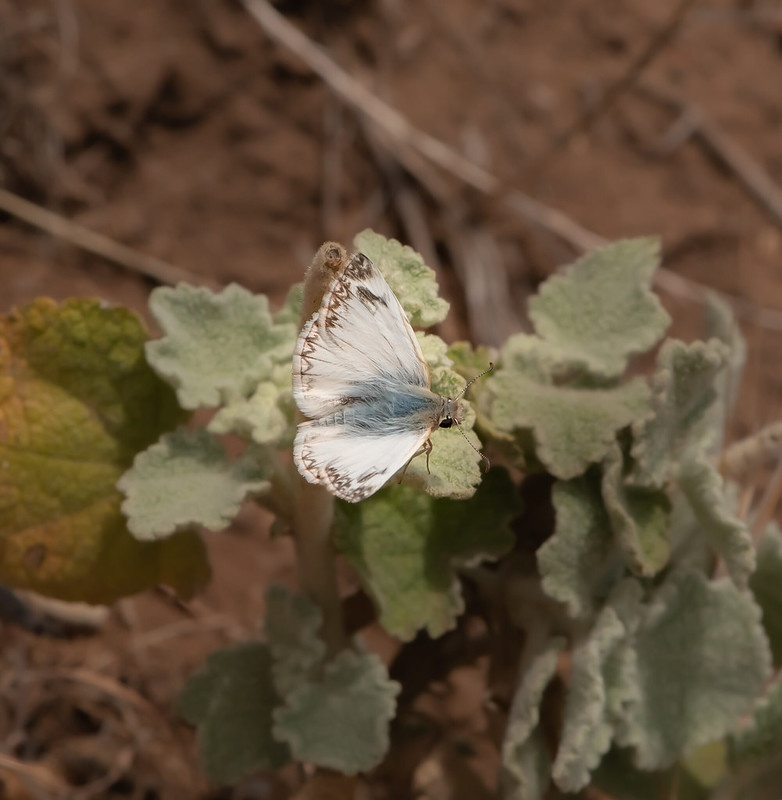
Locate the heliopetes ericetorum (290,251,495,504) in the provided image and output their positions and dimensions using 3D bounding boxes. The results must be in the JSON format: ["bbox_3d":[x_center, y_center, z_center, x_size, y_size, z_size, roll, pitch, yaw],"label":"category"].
[{"bbox_3d":[-0.038,-0.012,0.833,0.147,0.081,0.188,-29,82,-10],"label":"heliopetes ericetorum"}]
